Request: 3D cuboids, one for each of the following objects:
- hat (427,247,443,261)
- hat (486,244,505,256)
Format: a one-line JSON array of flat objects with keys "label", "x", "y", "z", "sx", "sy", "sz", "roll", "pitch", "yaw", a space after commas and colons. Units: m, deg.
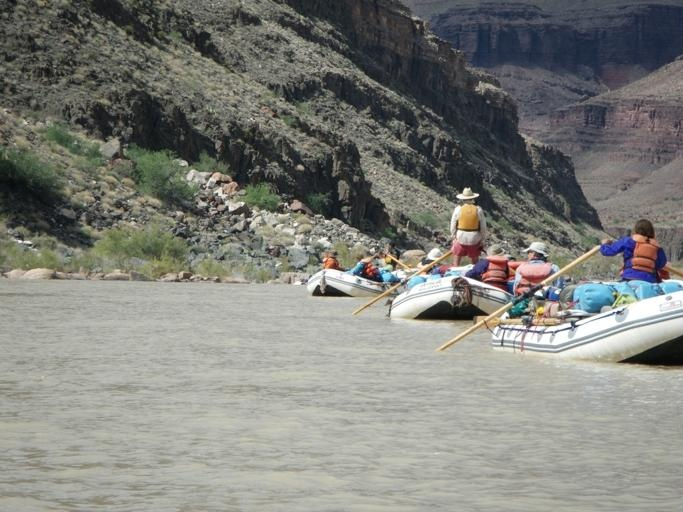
[{"label": "hat", "x": 3.979, "y": -0.106, "z": 62.585, "sx": 0.564, "sy": 0.209, "sz": 0.564, "roll": 12, "pitch": 42, "yaw": 24}, {"label": "hat", "x": 6.086, "y": -0.290, "z": 57.741, "sx": 0.606, "sy": 0.187, "sz": 0.562, "roll": -3, "pitch": 21, "yaw": 10}]
